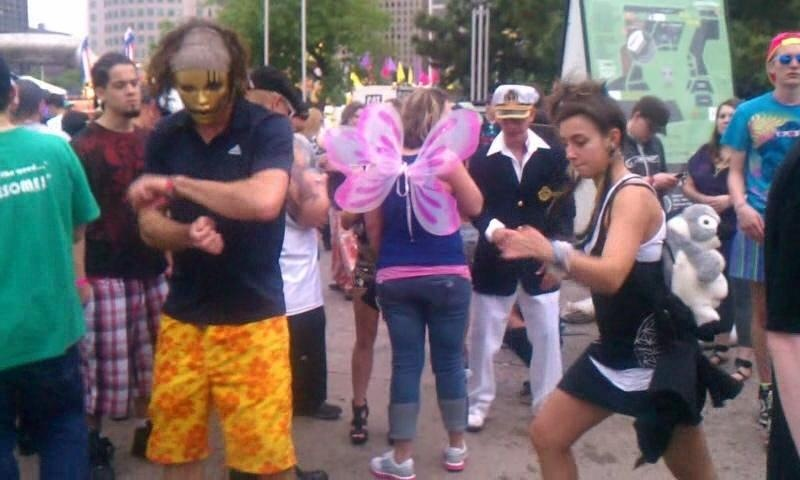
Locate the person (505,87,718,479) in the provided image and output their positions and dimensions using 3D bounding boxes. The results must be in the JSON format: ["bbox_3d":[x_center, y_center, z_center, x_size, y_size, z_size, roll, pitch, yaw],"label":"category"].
[{"bbox_3d":[1.418,0.287,5.714,1.321,2.664,0.870,4,10,19],"label":"person"}]

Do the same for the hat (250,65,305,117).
[{"bbox_3d":[-1.012,-1.258,7.026,0.414,0.220,0.296,29,-7,-24],"label":"hat"}]

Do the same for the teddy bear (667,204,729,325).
[{"bbox_3d":[1.946,0.162,5.655,0.401,0.782,0.215,4,10,19],"label":"teddy bear"}]

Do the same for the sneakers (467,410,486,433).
[{"bbox_3d":[0.637,1.553,7.264,0.142,0.187,0.091,-10,-26,32],"label":"sneakers"}]

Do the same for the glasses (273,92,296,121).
[{"bbox_3d":[-0.940,-1.095,7.006,0.231,0.243,0.077,9,-7,27],"label":"glasses"}]

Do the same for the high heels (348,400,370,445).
[{"bbox_3d":[-0.358,1.557,7.152,0.123,0.157,0.369,0,15,-2],"label":"high heels"}]
